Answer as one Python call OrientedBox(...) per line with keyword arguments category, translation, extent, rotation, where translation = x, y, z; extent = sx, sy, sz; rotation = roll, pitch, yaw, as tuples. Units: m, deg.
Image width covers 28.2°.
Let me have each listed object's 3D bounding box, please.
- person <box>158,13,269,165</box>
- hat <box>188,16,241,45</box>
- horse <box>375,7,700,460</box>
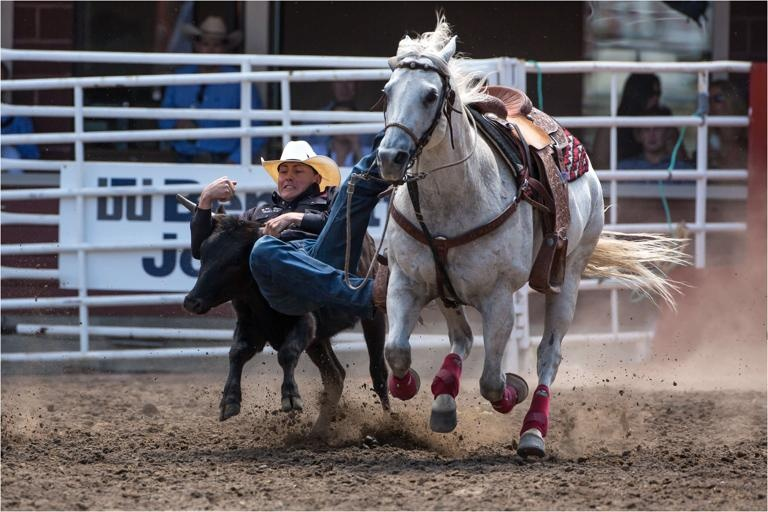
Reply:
OrientedBox(category="person", translation=(-1.714, -1.646, 15.276), extent=(1.051, 1.385, 0.497), rotation=(1, -1, 0))
OrientedBox(category="hat", translation=(-1.712, -2.313, 15.584), extent=(0.357, 0.132, 0.375), rotation=(6, -18, -3))
OrientedBox(category="horse", translation=(0.948, -0.132, 12.712), extent=(2.492, 3.496, 0.947), rotation=(-2, 5, -43))
